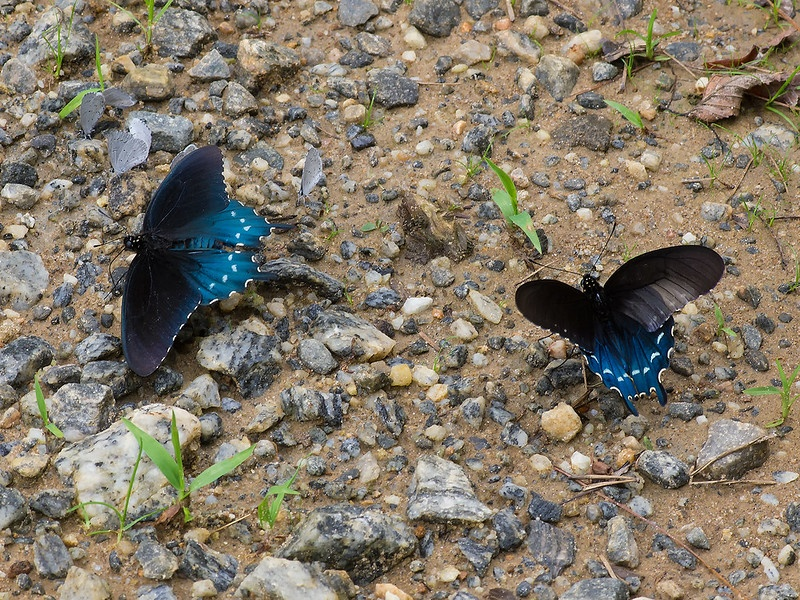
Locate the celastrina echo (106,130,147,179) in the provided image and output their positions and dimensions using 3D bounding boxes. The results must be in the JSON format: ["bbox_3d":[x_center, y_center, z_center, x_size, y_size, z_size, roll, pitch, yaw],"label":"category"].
[{"bbox_3d":[-1.856,-0.997,5.934,0.279,0.144,0.274,43,90,17],"label":"celastrina echo"}]
